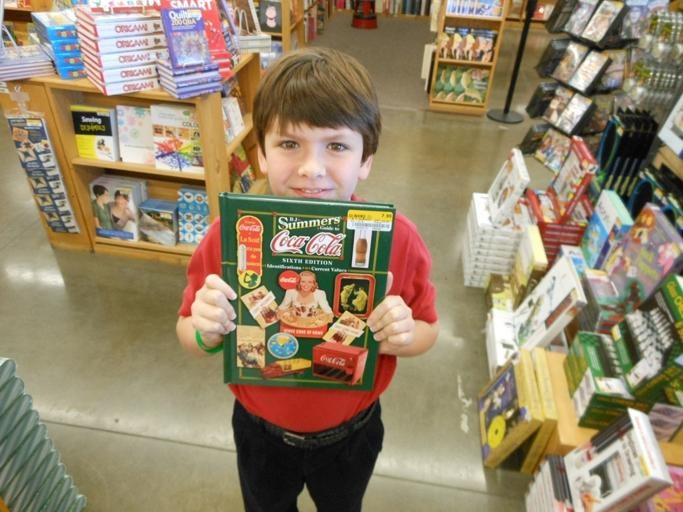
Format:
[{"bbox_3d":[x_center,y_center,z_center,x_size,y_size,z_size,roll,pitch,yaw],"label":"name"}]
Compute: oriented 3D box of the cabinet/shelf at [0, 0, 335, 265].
[{"bbox_3d":[-1.516,-0.737,4.663,2.430,2.376,1.827,8,40,7],"label":"cabinet/shelf"}]
